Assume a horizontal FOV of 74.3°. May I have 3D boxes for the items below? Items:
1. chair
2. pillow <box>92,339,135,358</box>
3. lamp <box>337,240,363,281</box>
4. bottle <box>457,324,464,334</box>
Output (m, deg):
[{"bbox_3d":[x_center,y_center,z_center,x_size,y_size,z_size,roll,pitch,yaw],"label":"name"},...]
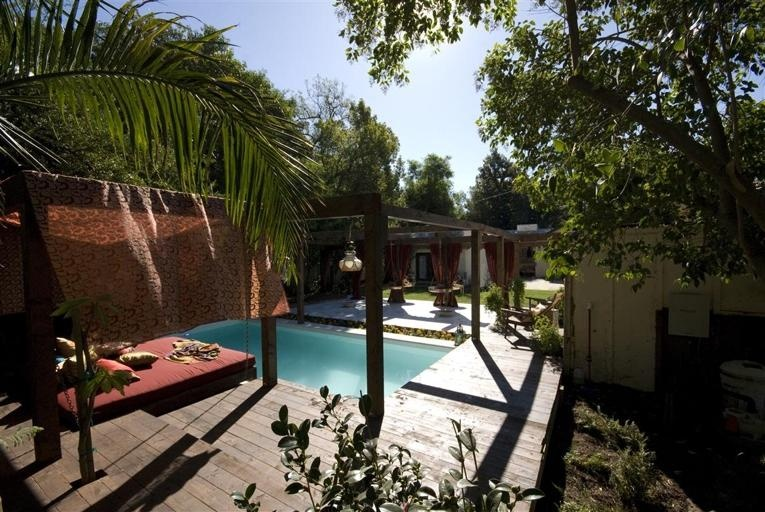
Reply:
[{"bbox_3d":[2.875,1.331,10.454,0.876,0.796,0.927,10,-7,0],"label":"chair"},{"bbox_3d":[-3.575,1.216,6.629,0.382,0.162,0.440,11,17,19],"label":"pillow"},{"bbox_3d":[-0.670,-0.027,10.663,0.395,0.724,0.435,-2,-2,22],"label":"lamp"},{"bbox_3d":[1.602,1.501,10.417,0.128,0.287,0.129,-1,1,0],"label":"bottle"}]
